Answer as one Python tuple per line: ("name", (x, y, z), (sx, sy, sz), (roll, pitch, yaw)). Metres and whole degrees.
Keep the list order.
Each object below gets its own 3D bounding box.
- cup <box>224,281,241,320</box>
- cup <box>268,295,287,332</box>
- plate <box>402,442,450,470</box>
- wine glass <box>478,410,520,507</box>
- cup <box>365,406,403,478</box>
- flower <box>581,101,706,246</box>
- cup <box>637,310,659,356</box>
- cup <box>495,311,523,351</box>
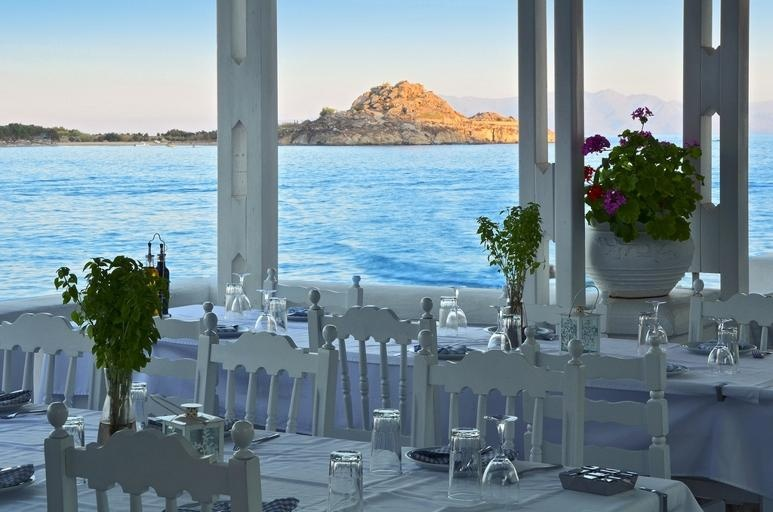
("cup", (-0.869, 0.238, 5.062), (0.103, 0.169, 0.109), (0, -3, 0))
("cup", (-0.552, 0.304, 4.599), (0.127, 0.177, 0.127), (1, -1, 0))
("plate", (0.139, 0.661, 2.969), (0.159, 0.056, 0.166), (-2, 2, 12))
("wine glass", (0.370, 0.602, 2.883), (0.113, 0.267, 0.435), (-2, 2, 8))
("cup", (-0.005, 0.595, 2.928), (0.109, 0.205, 0.139), (-2, 2, -2))
("flower", (1.460, -0.499, 5.077), (0.577, 0.619, 0.579), (7, -16, 0))
("cup", (1.237, 0.358, 4.143), (0.132, 0.189, 0.090), (0, -2, 3))
("cup", (0.599, 0.356, 4.214), (0.136, 0.234, 0.145), (-2, -1, 0))
